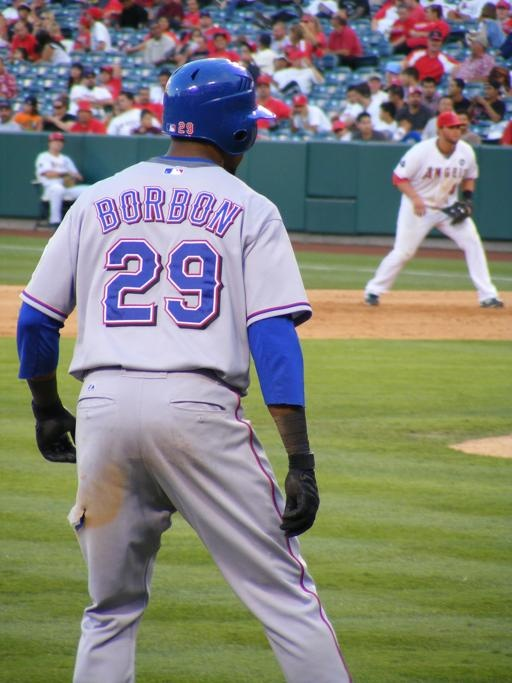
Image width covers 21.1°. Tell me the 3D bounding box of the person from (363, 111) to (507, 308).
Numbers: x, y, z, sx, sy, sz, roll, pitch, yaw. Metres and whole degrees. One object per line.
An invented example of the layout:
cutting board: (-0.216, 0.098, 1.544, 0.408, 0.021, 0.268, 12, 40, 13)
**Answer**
person: (1.352, -0.958, 10.208, 1.035, 1.480, 0.487, 1, 13, 4)

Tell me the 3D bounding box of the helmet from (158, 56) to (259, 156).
helmet: (-0.112, -0.673, 3.837, 0.269, 0.236, 0.281, 16, 25, 39)

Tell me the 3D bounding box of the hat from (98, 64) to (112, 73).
hat: (-2.009, -3.579, 17.980, 0.211, 0.064, 0.144, 22, 8, 37)

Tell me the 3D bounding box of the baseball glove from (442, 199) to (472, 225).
baseball glove: (1.533, -0.955, 10.127, 0.144, 0.076, 0.189, 5, 28, 32)

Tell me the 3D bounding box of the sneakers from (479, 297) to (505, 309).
sneakers: (1.790, -0.287, 10.232, 0.189, 0.073, 0.074, -3, -2, 41)
